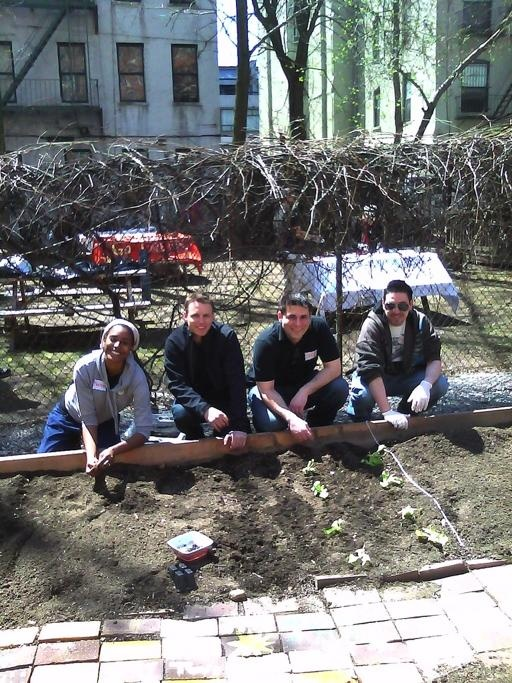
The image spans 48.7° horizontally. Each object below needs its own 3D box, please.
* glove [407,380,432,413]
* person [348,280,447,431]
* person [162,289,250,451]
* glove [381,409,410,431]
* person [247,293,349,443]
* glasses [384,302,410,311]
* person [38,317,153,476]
[{"bbox_3d":[1.028,0.350,3.531,0.067,0.207,0.158,20,50,22],"label":"glove"},{"bbox_3d":[0.854,0.096,3.656,0.604,0.983,0.837,3,12,29],"label":"person"},{"bbox_3d":[-0.297,0.194,3.293,0.536,0.944,0.539,-1,11,10],"label":"person"},{"bbox_3d":[0.829,0.473,3.351,0.147,0.094,0.169,0,10,12],"label":"glove"},{"bbox_3d":[0.314,0.153,3.517,0.630,0.906,0.757,-8,12,-27],"label":"person"},{"bbox_3d":[0.881,-0.220,3.547,0.148,0.063,0.065,0,11,14],"label":"glasses"},{"bbox_3d":[-0.875,0.259,3.130,0.489,0.753,0.673,-12,14,-42],"label":"person"}]
